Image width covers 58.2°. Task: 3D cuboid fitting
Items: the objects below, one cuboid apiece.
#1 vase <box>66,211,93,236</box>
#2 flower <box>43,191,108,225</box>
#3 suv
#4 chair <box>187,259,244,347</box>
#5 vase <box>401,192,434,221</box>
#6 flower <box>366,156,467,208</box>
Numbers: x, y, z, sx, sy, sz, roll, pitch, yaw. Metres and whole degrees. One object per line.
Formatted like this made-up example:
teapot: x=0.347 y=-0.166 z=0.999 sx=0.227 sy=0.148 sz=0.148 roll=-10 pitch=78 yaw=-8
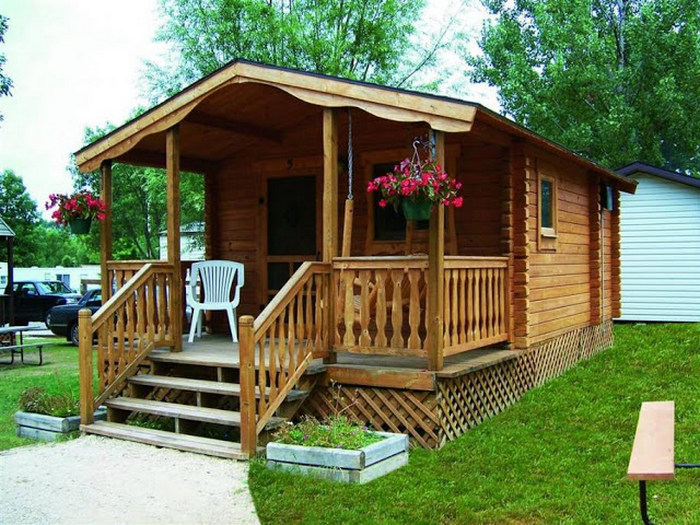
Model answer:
vase: x=-4.116 y=-0.583 z=9.653 sx=0.298 sy=0.232 sz=0.308 roll=1 pitch=2 yaw=35
flower: x=-4.153 y=-0.837 z=9.608 sx=0.603 sy=0.444 sz=0.578 roll=-1 pitch=3 yaw=-39
suv: x=-9.234 y=1.190 z=19.803 sx=2.647 sy=1.421 sz=1.540 roll=-4 pitch=0 yaw=6
chair: x=-2.040 y=0.574 z=9.560 sx=0.909 sy=1.180 sz=0.882 roll=2 pitch=-1 yaw=-37
vase: x=0.777 y=-0.620 z=7.091 sx=0.260 sy=0.190 sz=0.265 roll=3 pitch=-8 yaw=-27
flower: x=0.895 y=-0.864 z=7.210 sx=0.856 sy=0.487 sz=0.702 roll=12 pitch=11 yaw=39
